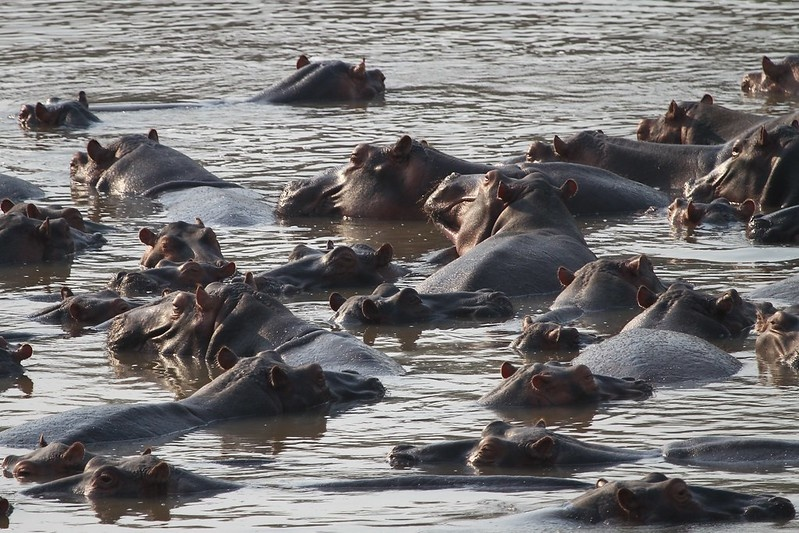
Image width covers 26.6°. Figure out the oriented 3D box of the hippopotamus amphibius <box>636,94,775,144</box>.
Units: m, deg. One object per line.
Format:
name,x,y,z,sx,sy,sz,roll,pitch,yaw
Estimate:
hippopotamus amphibius,4.421,-2.033,23.195,2.101,0.800,0.663,3,19,25
